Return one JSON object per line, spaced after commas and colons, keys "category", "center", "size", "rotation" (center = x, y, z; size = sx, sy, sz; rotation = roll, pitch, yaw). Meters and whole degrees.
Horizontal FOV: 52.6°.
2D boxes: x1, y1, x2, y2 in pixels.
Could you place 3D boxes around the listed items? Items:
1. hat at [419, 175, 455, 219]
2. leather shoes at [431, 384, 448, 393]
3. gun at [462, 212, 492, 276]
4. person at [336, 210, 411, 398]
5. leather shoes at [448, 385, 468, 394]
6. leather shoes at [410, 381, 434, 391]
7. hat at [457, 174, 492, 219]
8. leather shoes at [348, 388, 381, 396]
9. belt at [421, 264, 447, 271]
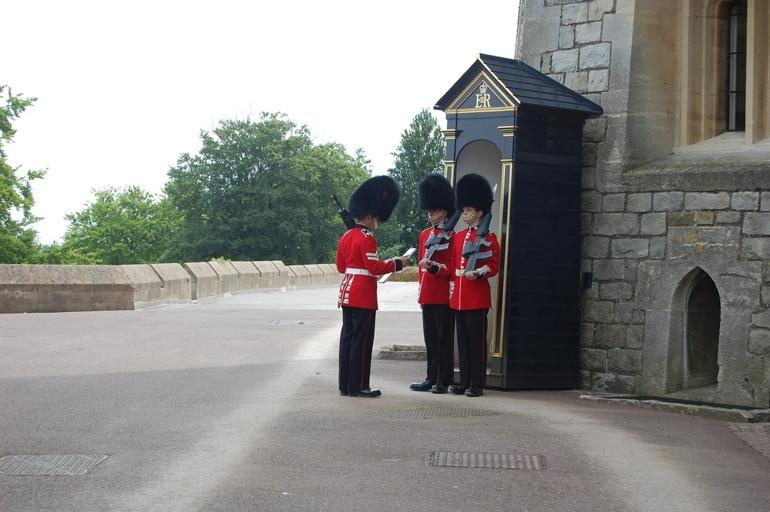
{"category": "hat", "center": [0.643, -0.787, 9.981], "size": [0.487, 0.544, 0.402], "rotation": [-1, -5, -8]}
{"category": "leather shoes", "center": [0.674, 1.627, 9.559], "size": [0.226, 0.097, 0.081], "rotation": [-2, -3, 1]}
{"category": "gun", "center": [1.114, -0.182, 9.286], "size": [0.368, 0.723, 0.339], "rotation": [0, -1, -9]}
{"category": "person", "center": [-0.221, 0.569, 9.283], "size": [0.793, 2.141, 0.503], "rotation": [0, 0, 8]}
{"category": "leather shoes", "center": [0.883, 1.609, 9.402], "size": [0.251, 0.099, 0.090], "rotation": [5, -4, -18]}
{"category": "leather shoes", "center": [0.461, 1.621, 9.726], "size": [0.263, 0.106, 0.112], "rotation": [5, -6, -1]}
{"category": "hat", "center": [1.097, -0.776, 9.488], "size": [0.370, 0.419, 0.500], "rotation": [8, 3, 0]}
{"category": "leather shoes", "center": [-0.235, 1.597, 9.112], "size": [0.373, 0.144, 0.135], "rotation": [-3, -3, 1]}
{"category": "belt", "center": [0.610, 0.135, 9.517], "size": [0.173, 0.064, 0.133], "rotation": [1, 0, -20]}
